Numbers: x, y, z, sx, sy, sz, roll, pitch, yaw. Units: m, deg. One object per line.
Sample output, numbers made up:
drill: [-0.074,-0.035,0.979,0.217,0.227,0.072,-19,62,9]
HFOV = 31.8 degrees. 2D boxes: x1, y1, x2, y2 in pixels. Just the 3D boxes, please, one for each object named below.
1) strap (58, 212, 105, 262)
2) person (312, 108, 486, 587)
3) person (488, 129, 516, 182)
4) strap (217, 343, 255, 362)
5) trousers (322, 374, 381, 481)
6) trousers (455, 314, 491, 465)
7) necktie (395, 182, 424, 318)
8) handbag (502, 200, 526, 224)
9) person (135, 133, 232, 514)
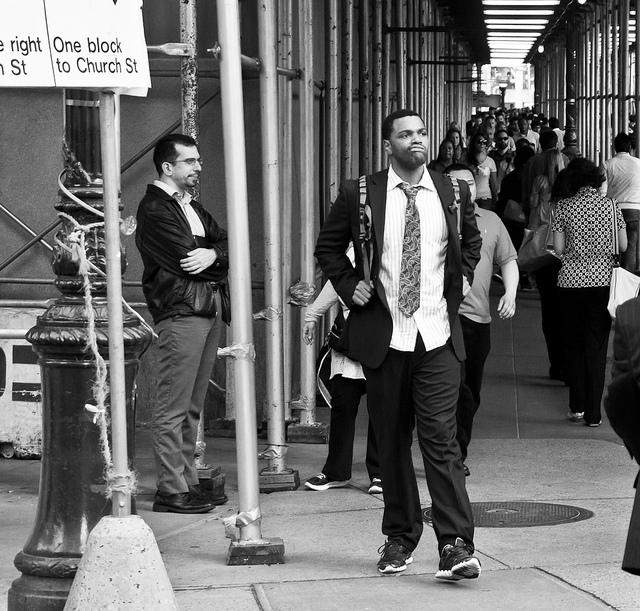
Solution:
strap: [-0.942,-0.262,4.351,0.170,0.256,0.159,2,12,8]
person: [0.344,0.164,4.905,0.675,2.032,0.557,0,3,3]
person: [3.326,-2.924,21.219,0.312,0.266,0.850,-16,-36,6]
strap: [-0.378,0.206,5.002,0.153,0.086,0.177,0,4,-2]
trousers: [0.190,0.719,6.807,0.372,0.691,0.410,11,9,-6]
trousers: [0.919,0.502,6.897,0.177,0.795,0.248,8,15,4]
necktie: [0.389,-0.244,4.896,0.107,0.575,0.132,0,3,3]
handbag: [2.361,-1.202,13.723,0.238,0.329,0.337,-11,33,-6]
person: [-0.728,0.098,6.139,0.510,2.061,0.433,-2,3,-33]
